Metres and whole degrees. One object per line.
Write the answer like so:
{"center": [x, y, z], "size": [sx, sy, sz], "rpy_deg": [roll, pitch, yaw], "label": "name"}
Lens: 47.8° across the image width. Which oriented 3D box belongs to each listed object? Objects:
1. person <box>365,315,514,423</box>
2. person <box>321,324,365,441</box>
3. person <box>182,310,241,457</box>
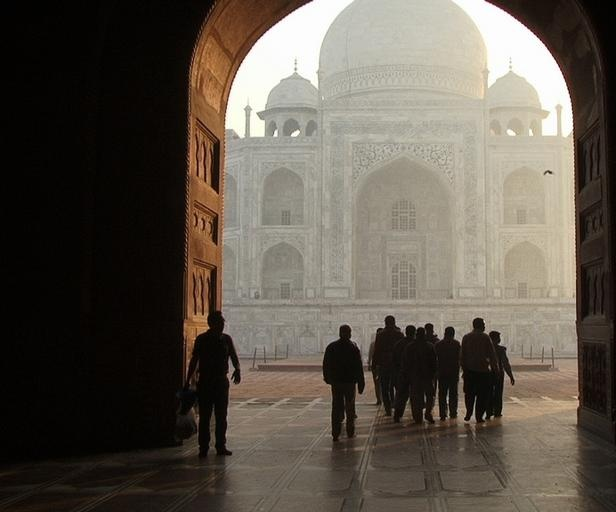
{"center": [1.977, 1.527, 9.367], "size": [1.649, 1.350, 1.116], "rpy_deg": [-1, -6, 4], "label": "person"}
{"center": [0.413, 1.430, 8.013], "size": [0.455, 1.247, 1.135], "rpy_deg": [0, -6, 3], "label": "person"}
{"center": [-0.971, 1.255, 7.088], "size": [0.545, 1.419, 1.066], "rpy_deg": [1, -6, -7], "label": "person"}
